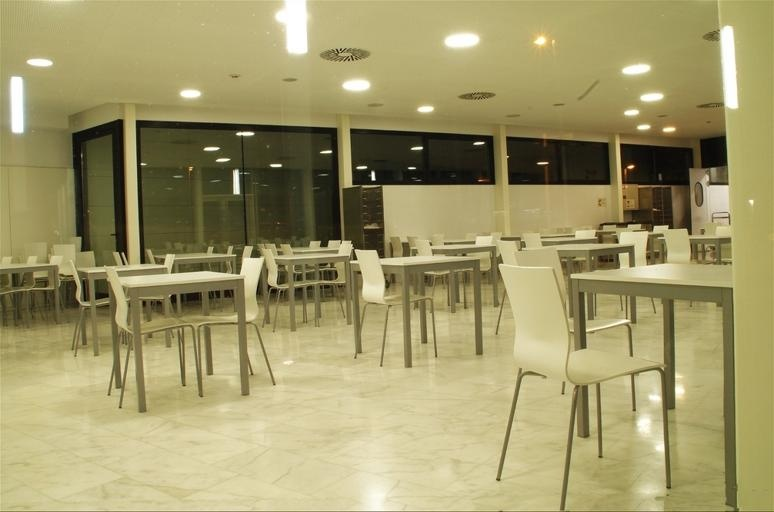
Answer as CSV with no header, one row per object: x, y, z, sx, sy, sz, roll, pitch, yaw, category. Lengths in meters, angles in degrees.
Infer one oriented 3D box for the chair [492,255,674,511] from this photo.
0.967,0.618,3.156,0.851,1.209,0.637,-7,11,-16,chair

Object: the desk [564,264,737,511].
1.611,0.636,3.668,1.323,1.115,1.266,-4,2,-41,desk
